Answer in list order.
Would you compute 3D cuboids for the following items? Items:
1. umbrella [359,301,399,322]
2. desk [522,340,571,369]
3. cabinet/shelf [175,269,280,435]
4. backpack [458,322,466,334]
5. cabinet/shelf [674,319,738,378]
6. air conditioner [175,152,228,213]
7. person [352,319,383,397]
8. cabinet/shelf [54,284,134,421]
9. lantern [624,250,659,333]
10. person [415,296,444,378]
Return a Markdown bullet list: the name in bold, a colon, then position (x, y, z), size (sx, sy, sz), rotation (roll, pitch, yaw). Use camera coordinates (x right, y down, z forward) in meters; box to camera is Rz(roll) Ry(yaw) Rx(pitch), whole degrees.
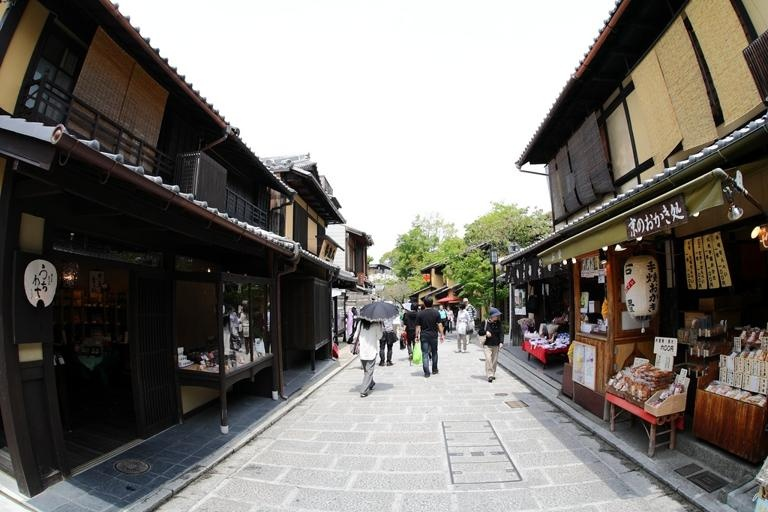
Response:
- **umbrella**: position (-0.133, 1.443, 11.742), size (0.926, 0.595, 0.720), rotation (-1, 2, -31)
- **desk**: position (5.337, 3.093, 14.788), size (1.278, 0.880, 1.888), rotation (0, 2, 14)
- **cabinet/shelf**: position (-3.562, 2.102, 10.013), size (1.225, 3.746, 2.989), rotation (-3, -4, 9)
- **backpack**: position (3.229, 2.898, 18.667), size (0.341, 0.534, 0.255), rotation (0, 2, 9)
- **cabinet/shelf**: position (6.023, 1.608, 8.348), size (1.273, 1.072, 0.270), rotation (-2, -17, -6)
- **air conditioner**: position (-4.340, -1.915, 11.016), size (1.421, 1.417, 0.510), rotation (24, 20, 28)
- **person**: position (-0.431, 2.527, 11.832), size (0.779, 1.956, 0.980), rotation (0, 2, -2)
- **cabinet/shelf**: position (-6.931, 2.027, 10.731), size (1.485, 2.563, 2.261), rotation (-2, 2, -37)
- **lantern**: position (5.055, 0.539, 8.871), size (0.581, 1.183, 0.300), rotation (1, 2, 28)
- **person**: position (1.332, 2.389, 13.558), size (0.772, 2.201, 1.046), rotation (0, -1, 8)
